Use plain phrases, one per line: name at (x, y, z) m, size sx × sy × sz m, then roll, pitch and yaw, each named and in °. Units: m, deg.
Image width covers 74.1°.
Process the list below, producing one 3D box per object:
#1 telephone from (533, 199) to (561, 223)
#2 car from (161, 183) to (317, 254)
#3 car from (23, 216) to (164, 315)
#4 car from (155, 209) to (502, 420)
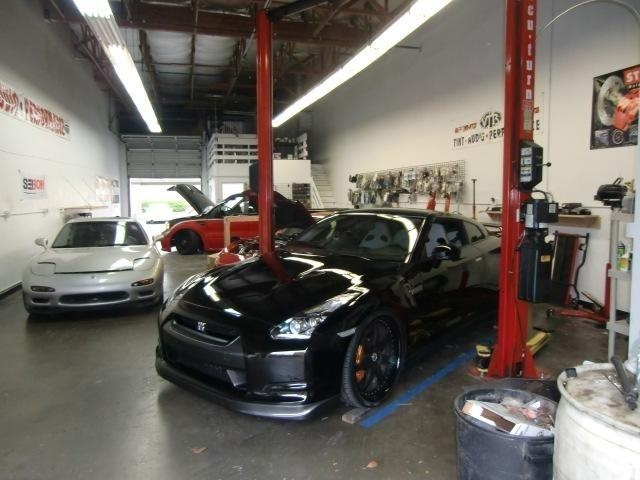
telephone at (1.937, -0.234, 3.605) m, size 0.262 × 0.211 × 0.133 m, roll -10°, pitch 17°, yaw -31°
car at (-2.216, -0.578, 11.297) m, size 3.892 × 1.676 × 1.639 m, roll -3°, pitch 5°, yaw -4°
car at (-3.254, 0.125, 6.369) m, size 1.698 × 0.944 × 2.712 m, roll -3°, pitch 16°, yaw -22°
car at (0.489, 0.446, 4.045) m, size 3.314 × 0.934 × 1.561 m, roll -6°, pitch 8°, yaw -42°
